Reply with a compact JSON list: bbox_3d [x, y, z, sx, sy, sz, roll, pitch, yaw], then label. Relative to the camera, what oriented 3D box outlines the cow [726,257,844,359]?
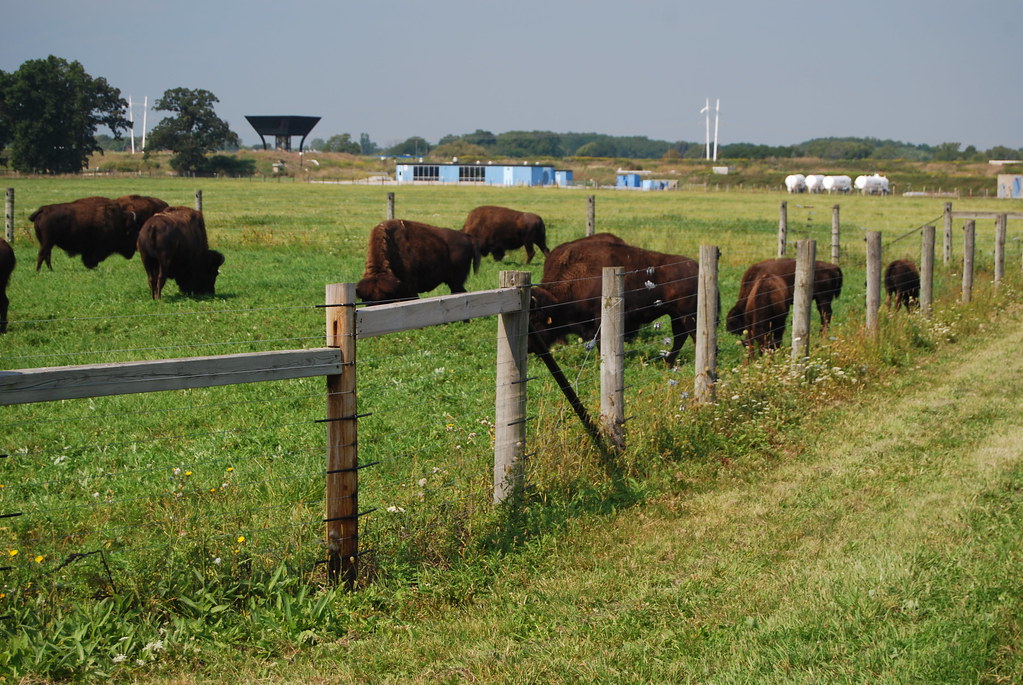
[{"bbox_3d":[4.714,-0.718,20.853,1.835,1.389,4.001,4,8,29],"label":"cow"}]

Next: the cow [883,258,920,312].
[{"bbox_3d":[7.623,-1.157,24.018,0.727,0.914,0.582,5,8,37],"label":"cow"}]

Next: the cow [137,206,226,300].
[{"bbox_3d":[-6.722,-1.807,24.646,1.540,1.701,1.727,6,9,41],"label":"cow"}]
